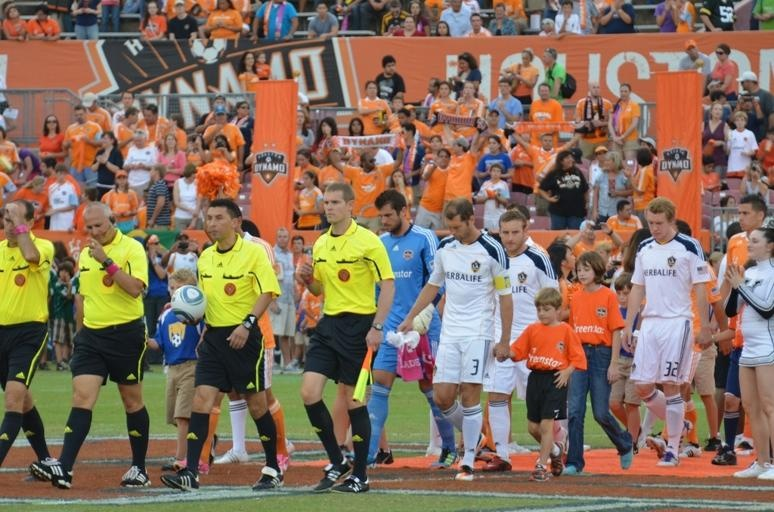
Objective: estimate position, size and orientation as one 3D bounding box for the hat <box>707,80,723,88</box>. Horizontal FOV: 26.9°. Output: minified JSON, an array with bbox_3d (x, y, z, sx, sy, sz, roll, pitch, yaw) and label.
[{"bbox_3d":[7.246,-3.737,35.650,0.270,0.210,0.265,22,9,26],"label":"hat"}]

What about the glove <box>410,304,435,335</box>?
[{"bbox_3d":[0.595,0.976,25.106,0.197,0.446,0.316,38,-23,-30],"label":"glove"}]

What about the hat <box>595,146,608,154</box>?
[{"bbox_3d":[4.424,-2.151,33.207,0.211,0.118,0.327,-1,-3,3],"label":"hat"}]

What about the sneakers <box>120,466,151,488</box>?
[{"bbox_3d":[-3.712,3.238,23.881,0.442,0.301,0.262,0,-3,-9],"label":"sneakers"}]

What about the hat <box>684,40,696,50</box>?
[{"bbox_3d":[6.865,-4.717,36.434,0.193,0.275,0.535,-1,-3,8],"label":"hat"}]

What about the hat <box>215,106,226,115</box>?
[{"bbox_3d":[-3.694,-3.198,35.884,0.183,0.257,0.250,2,-6,1],"label":"hat"}]

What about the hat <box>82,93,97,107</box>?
[{"bbox_3d":[-6.857,-3.532,37.314,0.295,0.236,0.440,4,19,0],"label":"hat"}]

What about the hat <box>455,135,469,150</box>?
[{"bbox_3d":[1.574,-2.299,33.328,0.278,0.210,0.213,45,-12,-12],"label":"hat"}]

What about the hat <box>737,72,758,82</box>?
[{"bbox_3d":[7.806,-3.865,35.078,0.478,0.268,0.367,4,6,18],"label":"hat"}]

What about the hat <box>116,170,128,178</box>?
[{"bbox_3d":[-5.628,-1.710,34.341,0.224,0.178,0.364,0,-3,-8],"label":"hat"}]
